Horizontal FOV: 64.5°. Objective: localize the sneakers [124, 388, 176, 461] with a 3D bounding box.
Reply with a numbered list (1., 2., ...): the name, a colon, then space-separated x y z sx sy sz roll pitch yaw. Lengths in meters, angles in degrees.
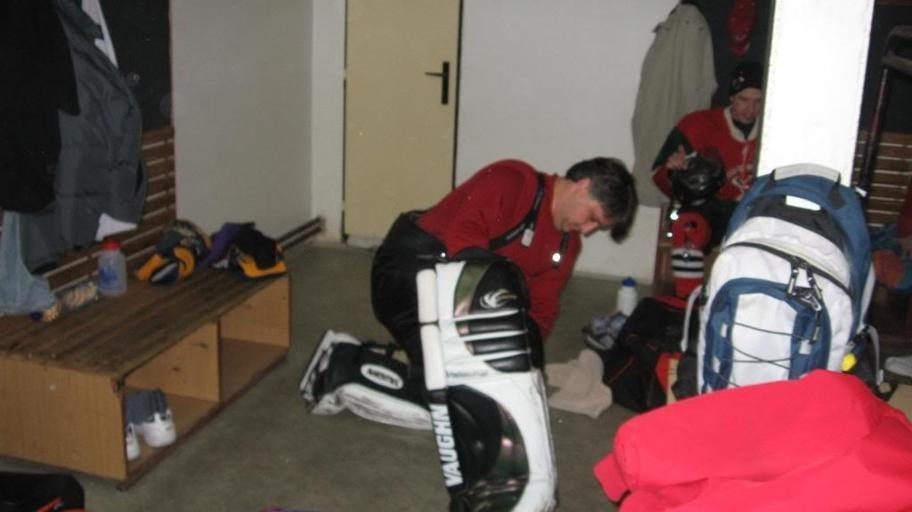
1. sneakers: -1.617 0.884 3.818 0.164 0.196 0.471 -4 14 -27
